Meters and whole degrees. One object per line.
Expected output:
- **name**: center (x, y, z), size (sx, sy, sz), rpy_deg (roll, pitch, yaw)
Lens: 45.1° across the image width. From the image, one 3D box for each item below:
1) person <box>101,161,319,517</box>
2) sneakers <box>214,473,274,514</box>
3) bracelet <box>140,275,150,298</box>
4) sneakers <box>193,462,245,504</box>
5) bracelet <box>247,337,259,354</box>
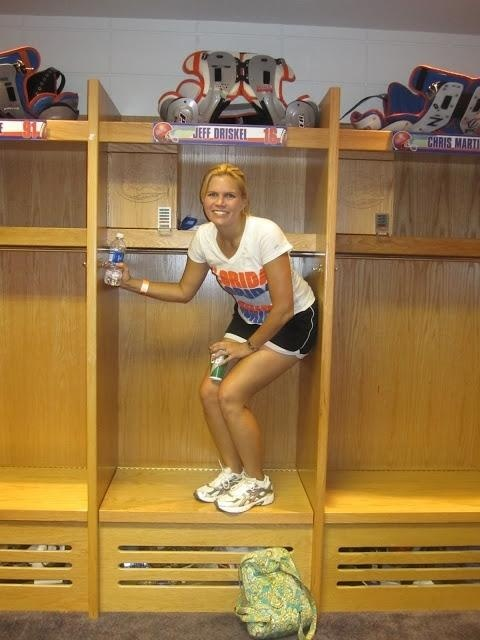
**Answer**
- **person**: center (-0.038, 0.072, 2.250), size (0.684, 1.291, 0.379), rpy_deg (2, 4, -7)
- **sneakers**: center (0.024, 0.675, 2.261), size (0.251, 0.111, 0.090), rpy_deg (1, -1, -40)
- **bracelet**: center (-0.381, -0.137, 2.289), size (0.057, 0.040, 0.054), rpy_deg (4, -22, -9)
- **sneakers**: center (-0.077, 0.650, 2.345), size (0.243, 0.101, 0.088), rpy_deg (-11, 10, -41)
- **bracelet**: center (0.047, 0.090, 2.177), size (0.039, 0.027, 0.052), rpy_deg (39, -4, 23)
